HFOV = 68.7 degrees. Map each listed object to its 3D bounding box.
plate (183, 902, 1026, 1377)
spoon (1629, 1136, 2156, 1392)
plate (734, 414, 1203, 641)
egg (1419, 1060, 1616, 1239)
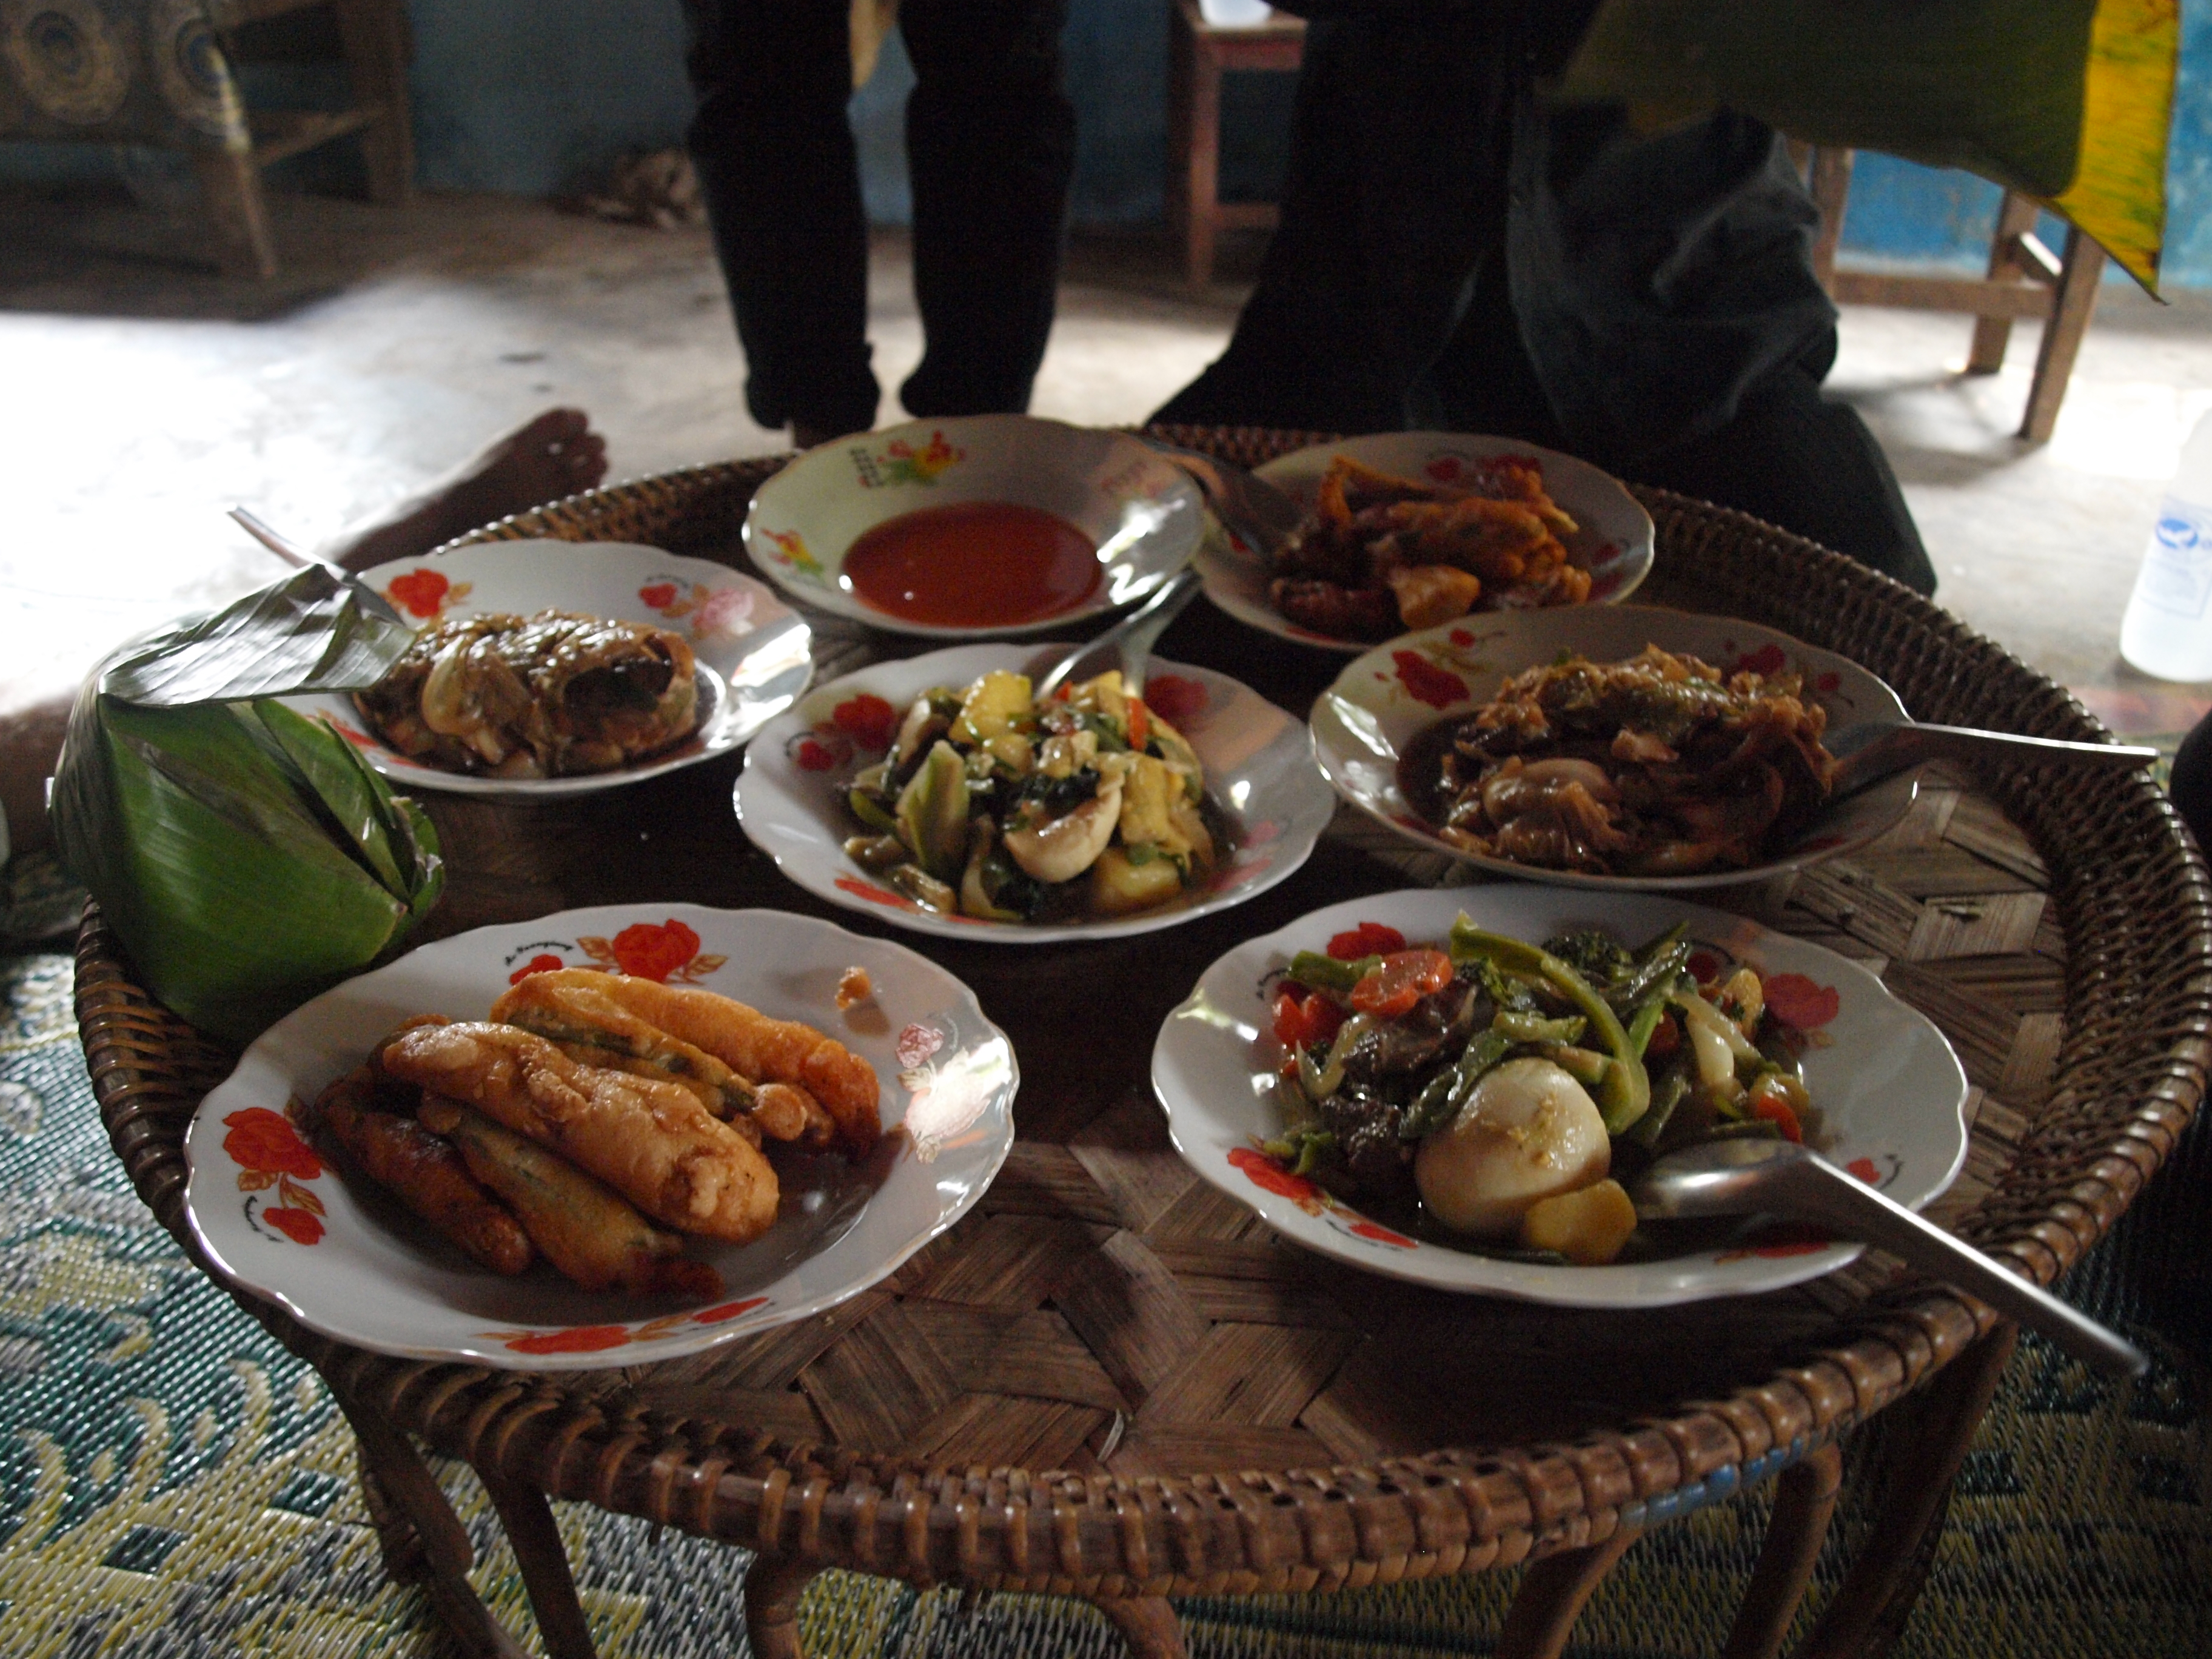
[{"bbox_3d":[-0.324,0.195,1.089,0.519,0.067,0.383,1,36,-1],"label":"plate"},{"bbox_3d":[0.467,0.246,0.975,0.277,0.092,0.086,29,46,32],"label":"spoon"},{"bbox_3d":[-0.119,-0.316,1.705,0.353,0.080,0.347,25,45,28],"label":"plate"},{"bbox_3d":[0.254,0.202,1.076,0.133,0.091,0.093,-20,15,-18],"label":"egg"}]
